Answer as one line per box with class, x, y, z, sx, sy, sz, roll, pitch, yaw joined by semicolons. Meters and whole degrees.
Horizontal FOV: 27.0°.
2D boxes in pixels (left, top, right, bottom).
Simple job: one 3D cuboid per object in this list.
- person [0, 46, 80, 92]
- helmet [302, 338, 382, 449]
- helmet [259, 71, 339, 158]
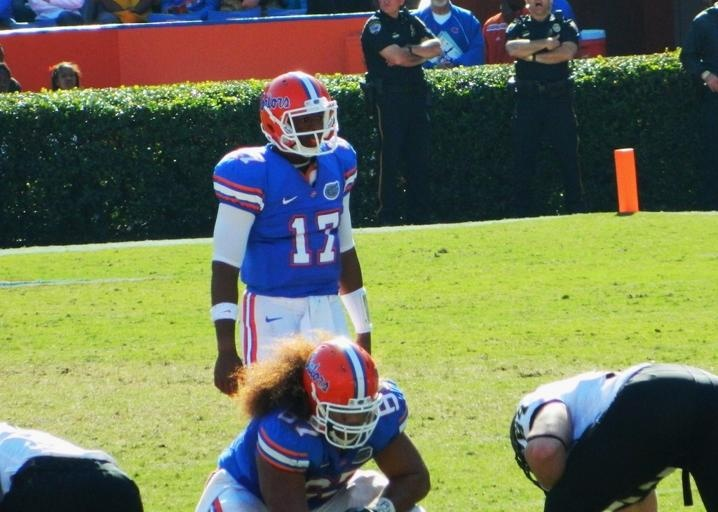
person;-3.405;-1.985;15.881;0.818;0.485;1.684;-5;7;-10
helmet;-0.123;0.815;9.403;0.453;0.533;0.645;-4;33;-34
helmet;-0.421;-0.968;10.048;0.459;0.562;0.595;-19;24;-41
